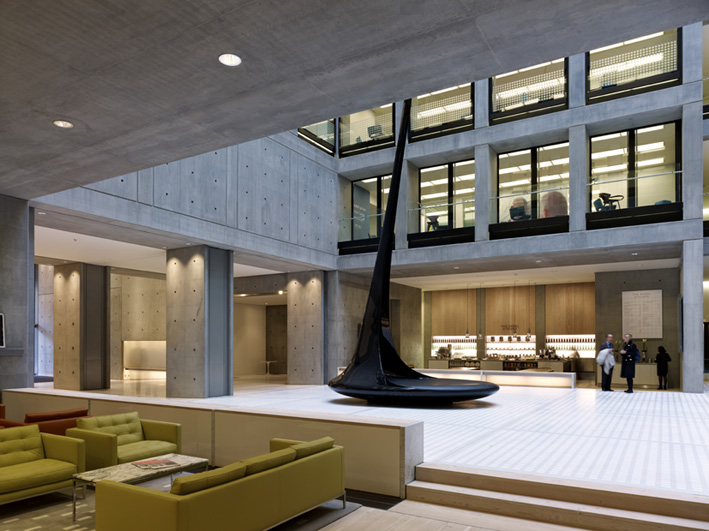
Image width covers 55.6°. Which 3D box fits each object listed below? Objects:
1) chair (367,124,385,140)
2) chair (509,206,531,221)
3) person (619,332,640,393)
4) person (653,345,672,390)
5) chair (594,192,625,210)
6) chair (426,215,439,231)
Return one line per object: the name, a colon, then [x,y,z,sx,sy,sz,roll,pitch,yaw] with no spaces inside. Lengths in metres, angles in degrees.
chair: [0.635,-4.201,21.114,0.430,0.456,0.347,-2,-5,16]
chair: [4.411,-1.394,18.013,0.335,0.333,0.431,7,-5,-42]
person: [7.066,2.528,17.333,0.462,1.470,1.241,-4,-10,23]
person: [8.635,2.870,18.894,0.353,1.157,0.705,-4,-10,22]
chair: [6.386,-1.586,17.044,0.488,0.651,0.484,2,-1,-27]
chair: [2.247,-1.220,19.391,0.337,0.462,0.394,-1,-5,10]
